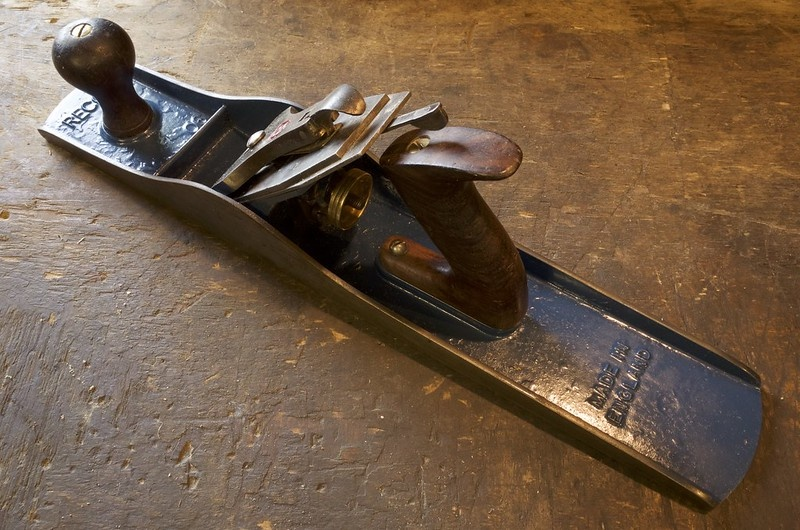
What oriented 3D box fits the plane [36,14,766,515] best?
[{"bbox_3d":[-0.017,0.058,2.793,2.301,0.725,0.457,32,58,10],"label":"plane"}]
